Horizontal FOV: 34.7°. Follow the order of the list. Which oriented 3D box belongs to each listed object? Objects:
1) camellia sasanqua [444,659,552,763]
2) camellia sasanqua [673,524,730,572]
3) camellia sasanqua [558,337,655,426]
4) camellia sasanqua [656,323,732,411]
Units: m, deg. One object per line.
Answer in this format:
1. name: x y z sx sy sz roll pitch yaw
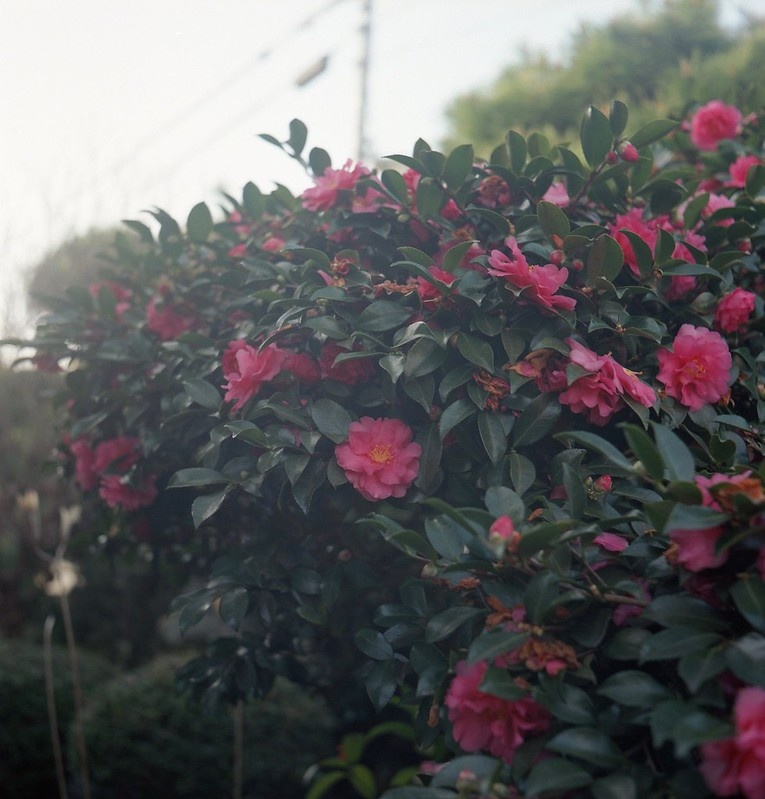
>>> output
1. camellia sasanqua: 0.213 0.658 2.564 0.147 0.209 0.217 7 -27 -43
2. camellia sasanqua: 0.614 0.283 2.371 0.102 0.090 0.079 -6 -11 35
3. camellia sasanqua: 0.470 -0.045 2.667 0.172 0.187 0.156 -5 -21 -20
4. camellia sasanqua: 0.683 -0.068 2.701 0.156 0.182 0.122 -2 -23 -28
